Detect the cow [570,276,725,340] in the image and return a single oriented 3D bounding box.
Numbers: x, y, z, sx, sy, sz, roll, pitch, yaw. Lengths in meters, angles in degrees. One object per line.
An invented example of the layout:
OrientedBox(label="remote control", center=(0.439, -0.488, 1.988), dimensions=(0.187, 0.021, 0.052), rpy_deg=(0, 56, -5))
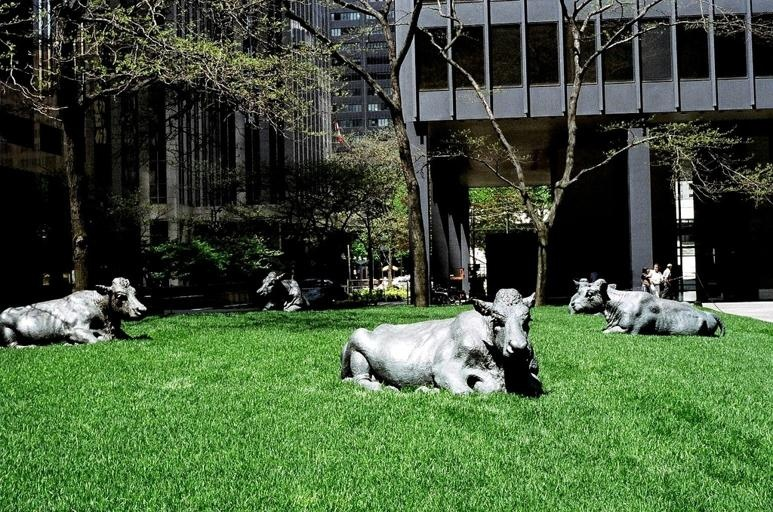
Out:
OrientedBox(label="cow", center=(8.342, 1.666, 32.828), dimensions=(4.733, 2.012, 1.801), rpy_deg=(4, -10, 20))

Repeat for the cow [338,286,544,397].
OrientedBox(label="cow", center=(1.432, 2.258, 25.685), dimensions=(4.327, 2.049, 2.457), rpy_deg=(-7, -7, 35))
